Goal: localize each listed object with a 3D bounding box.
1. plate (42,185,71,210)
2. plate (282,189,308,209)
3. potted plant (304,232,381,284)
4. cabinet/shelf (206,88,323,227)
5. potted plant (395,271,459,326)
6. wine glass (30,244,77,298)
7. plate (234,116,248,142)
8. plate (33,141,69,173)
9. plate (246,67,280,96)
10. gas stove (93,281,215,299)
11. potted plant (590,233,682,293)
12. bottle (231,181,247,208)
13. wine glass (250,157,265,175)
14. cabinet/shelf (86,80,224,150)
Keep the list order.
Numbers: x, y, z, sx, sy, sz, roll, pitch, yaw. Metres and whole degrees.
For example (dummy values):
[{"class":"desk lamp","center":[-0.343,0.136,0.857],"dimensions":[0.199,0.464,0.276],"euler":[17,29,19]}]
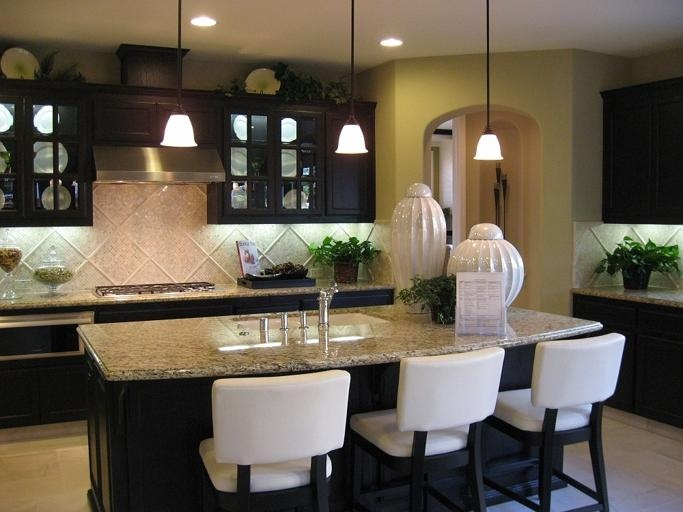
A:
[{"class":"plate","center":[-2.427,-0.495,4.832],"dimensions":[0.196,0.204,0.048],"euler":[1,10,-28]},{"class":"plate","center":[-0.471,-0.554,5.568],"dimensions":[0.190,0.198,0.045],"euler":[0,-3,-14]},{"class":"potted plant","center":[-0.004,0.005,5.957],"dimensions":[0.542,0.366,0.554],"euler":[1,-2,-3]},{"class":"cabinet/shelf","center":[-0.679,-0.893,5.577],"dimensions":[0.979,1.080,0.343],"euler":[-1,3,-11]},{"class":"potted plant","center":[0.520,0.246,3.449],"dimensions":[0.296,0.220,0.305],"euler":[0,7,7]},{"class":"wine glass","center":[-2.493,0.116,4.877],"dimensions":[0.242,0.324,0.241],"euler":[0,6,-21]},{"class":"plate","center":[-0.967,-1.212,5.379],"dimensions":[0.134,0.238,0.048],"euler":[-1,7,-2]},{"class":"plate","center":[-2.490,-0.825,4.751],"dimensions":[0.236,0.247,0.049],"euler":[8,3,-16]},{"class":"plate","center":[-0.761,-1.672,5.463],"dimensions":[0.332,0.261,0.183],"euler":[-2,7,-8]},{"class":"gas stove","center":[-1.666,0.294,5.099],"dimensions":[1.009,0.060,0.523],"euler":[-4,7,-22]},{"class":"potted plant","center":[2.721,0.046,5.239],"dimensions":[0.758,0.478,0.519],"euler":[2,7,22]},{"class":"bottle","center":[-0.976,-0.577,5.404],"dimensions":[0.154,0.252,0.028],"euler":[-5,8,-30]},{"class":"wine glass","center":[-0.792,-0.857,5.384],"dimensions":[0.132,0.145,0.140],"euler":[-3,5,-23]},{"class":"cabinet/shelf","center":[-1.645,-1.195,4.826],"dimensions":[1.011,0.508,0.268],"euler":[0,1,-23]}]
